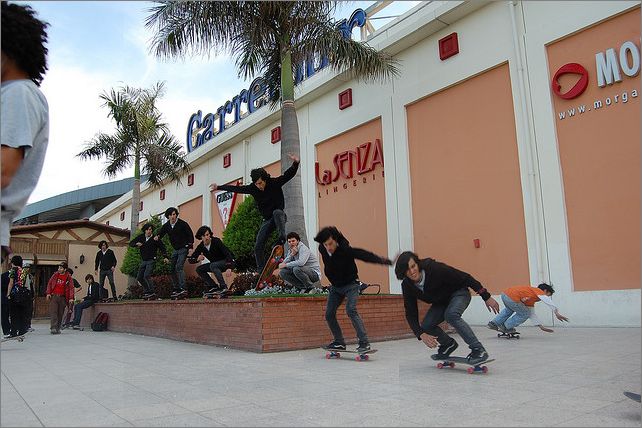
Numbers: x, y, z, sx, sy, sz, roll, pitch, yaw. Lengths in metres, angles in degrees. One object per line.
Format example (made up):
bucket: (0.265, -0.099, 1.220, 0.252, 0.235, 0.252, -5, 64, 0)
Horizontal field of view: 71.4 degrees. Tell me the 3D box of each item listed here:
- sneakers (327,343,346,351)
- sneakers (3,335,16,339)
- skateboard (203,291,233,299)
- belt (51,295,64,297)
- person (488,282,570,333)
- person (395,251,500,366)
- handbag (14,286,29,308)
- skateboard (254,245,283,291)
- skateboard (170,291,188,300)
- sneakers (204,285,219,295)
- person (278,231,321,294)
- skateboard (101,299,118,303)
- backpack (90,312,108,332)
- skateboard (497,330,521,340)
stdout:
sneakers: (0.299, 2.611, 8.749, 0.406, 0.191, 0.150, 0, -30, 5)
sneakers: (-8.507, 3.348, 12.188, 0.298, 0.119, 0.225, -6, -9, 3)
skateboard: (-2.708, 2.101, 11.614, 0.682, 0.193, 0.366, 8, -3, -18)
belt: (-8.727, 2.706, 14.835, 0.345, 0.085, 0.061, 5, -12, -32)
person: (4.958, 2.239, 10.683, 1.617, 1.378, 0.719, 7, -10, 23)
person: (2.203, 1.574, 7.578, 1.414, 2.003, 1.001, -14, -7, 9)
handbag: (-8.268, 2.288, 12.315, 0.406, 0.526, 0.282, 7, -13, -40)
skateboard: (-1.263, 1.327, 11.020, 0.401, 1.533, 0.251, 29, 21, 1)
skateboard: (-4.135, 2.304, 12.687, 0.594, 0.283, 0.228, 0, -10, 6)
sneakers: (-2.943, 2.018, 11.895, 0.557, 0.261, 0.209, -3, -11, 36)
person: (-0.525, 1.175, 10.518, 0.961, 1.409, 0.798, 0, -9, -34)
skateboard: (-8.295, 3.379, 17.465, 0.326, 0.121, 0.248, -1, -8, 7)
backpack: (-8.213, 3.995, 16.526, 0.323, 0.588, 0.435, -23, -45, 35)
skateboard: (4.525, 2.941, 10.910, 0.192, 0.106, 0.605, 1, -7, -14)
